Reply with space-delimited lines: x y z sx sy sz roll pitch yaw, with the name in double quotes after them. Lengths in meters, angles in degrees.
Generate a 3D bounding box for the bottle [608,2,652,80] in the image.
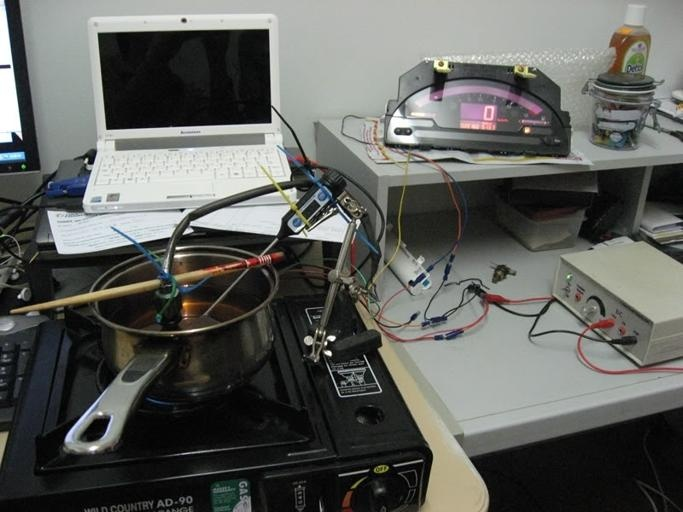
0.751 -0.552 1.330 0.098 0.159 0.280 15 35 25 "bottle"

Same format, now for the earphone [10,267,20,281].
-0.693 0.039 1.089 0.021 0.019 0.021 -13 36 -39 "earphone"

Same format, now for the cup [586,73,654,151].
0.684 -0.365 1.274 0.141 0.158 0.163 -18 33 -17 "cup"

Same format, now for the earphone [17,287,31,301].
-0.621 0.076 1.004 0.010 0.020 0.028 -11 8 -23 "earphone"
